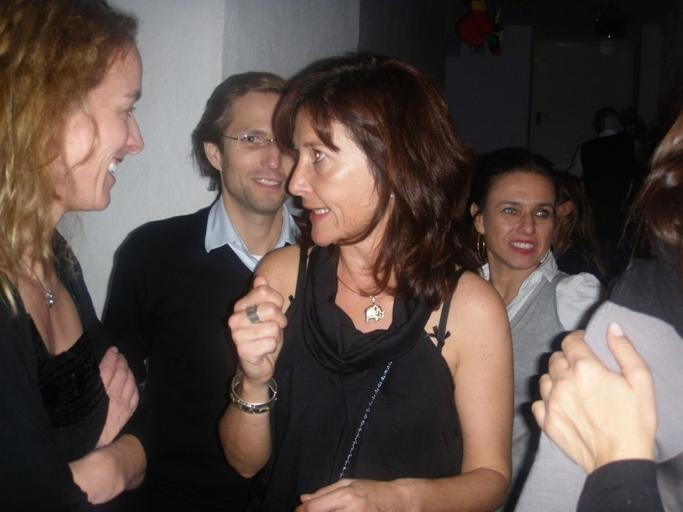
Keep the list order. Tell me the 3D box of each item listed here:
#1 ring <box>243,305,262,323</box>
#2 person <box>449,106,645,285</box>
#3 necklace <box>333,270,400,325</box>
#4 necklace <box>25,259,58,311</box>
[{"bbox_3d":[-0.285,0.189,2.107,0.035,0.049,0.047,-3,25,-15],"label":"ring"},{"bbox_3d":[1.138,-0.342,3.612,0.524,0.500,1.379,16,37,25],"label":"person"},{"bbox_3d":[0.096,0.156,2.340,0.202,0.006,0.243,0,59,6],"label":"necklace"},{"bbox_3d":[-0.932,0.094,2.050,0.036,0.158,0.044,-3,31,20],"label":"necklace"}]
